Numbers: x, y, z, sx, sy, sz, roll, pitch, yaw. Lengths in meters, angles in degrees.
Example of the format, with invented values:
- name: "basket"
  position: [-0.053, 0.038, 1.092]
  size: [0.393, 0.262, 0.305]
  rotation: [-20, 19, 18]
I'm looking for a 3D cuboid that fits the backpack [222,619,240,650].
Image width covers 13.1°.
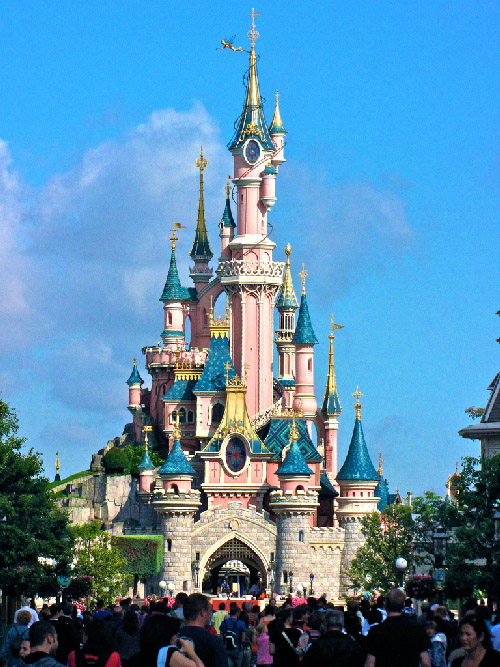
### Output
- name: "backpack"
  position: [-0.281, 3.939, 28.911]
  size: [0.225, 0.348, 0.348]
  rotation: [1, -23, 2]
